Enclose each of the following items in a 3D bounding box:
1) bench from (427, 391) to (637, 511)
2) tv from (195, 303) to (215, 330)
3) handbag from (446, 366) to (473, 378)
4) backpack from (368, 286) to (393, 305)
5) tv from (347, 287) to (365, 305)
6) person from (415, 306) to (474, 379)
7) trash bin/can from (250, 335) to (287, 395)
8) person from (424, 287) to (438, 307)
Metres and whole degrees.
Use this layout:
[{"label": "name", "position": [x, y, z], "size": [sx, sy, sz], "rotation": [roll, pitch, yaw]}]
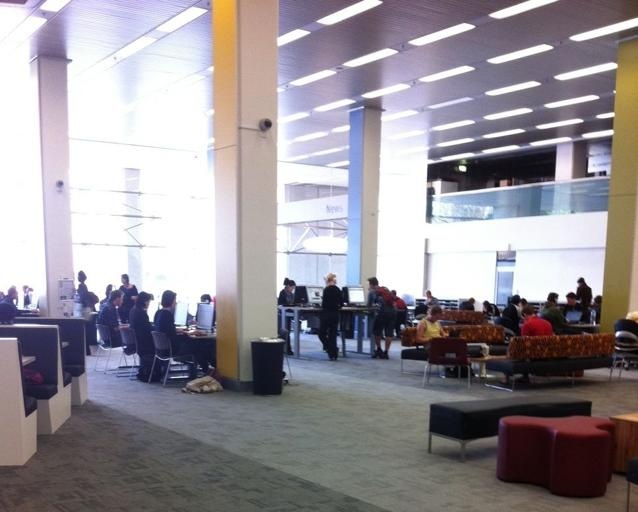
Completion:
[{"label": "bench", "position": [2.418, 1.954, 6.102], "size": [2.030, 0.677, 1.787], "rotation": [-2, -5, 43]}, {"label": "tv", "position": [-2.109, 1.116, 10.308], "size": [0.068, 0.475, 0.503], "rotation": [3, -5, -36]}, {"label": "handbag", "position": [2.725, 2.325, 11.086], "size": [0.350, 0.232, 0.376], "rotation": [0, 0, 6]}, {"label": "backpack", "position": [1.553, 0.998, 14.134], "size": [0.381, 0.551, 0.548], "rotation": [-2, -5, 20]}, {"label": "tv", "position": [0.908, 1.010, 14.215], "size": [0.401, 0.378, 0.208], "rotation": [4, -14, -36]}, {"label": "person", "position": [2.531, 1.643, 10.964], "size": [1.320, 1.731, 1.192], "rotation": [0, 0, -8]}, {"label": "trash bin/can", "position": [-0.818, 1.812, 9.224], "size": [0.781, 1.043, 0.739], "rotation": [0, -6, -5]}, {"label": "person", "position": [4.208, 1.531, 21.044], "size": [0.499, 1.320, 0.559], "rotation": [2, 1, 14]}]
